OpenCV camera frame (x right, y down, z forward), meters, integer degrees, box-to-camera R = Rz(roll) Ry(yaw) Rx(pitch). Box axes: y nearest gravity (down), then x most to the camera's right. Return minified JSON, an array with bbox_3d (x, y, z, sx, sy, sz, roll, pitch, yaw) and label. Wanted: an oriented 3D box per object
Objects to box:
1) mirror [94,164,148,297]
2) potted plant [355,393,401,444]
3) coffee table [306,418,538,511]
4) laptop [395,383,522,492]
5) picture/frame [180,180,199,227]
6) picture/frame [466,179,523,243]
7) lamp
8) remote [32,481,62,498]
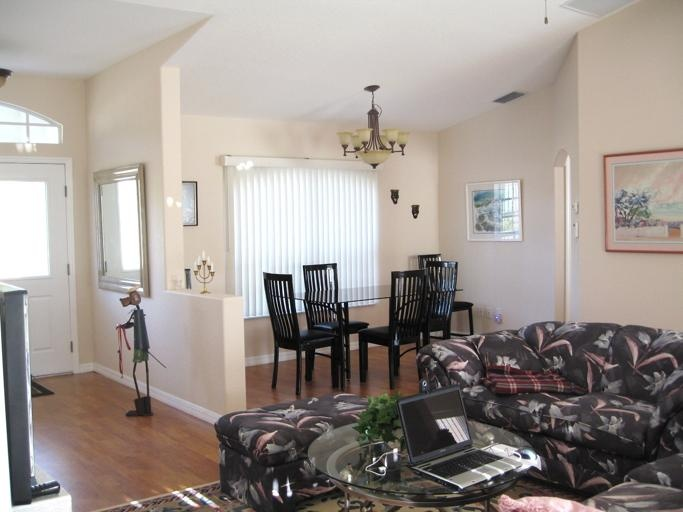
[{"bbox_3d":[-2.320,-0.296,5.197,0.079,1.398,1.352,-3,-4,-32],"label":"mirror"},{"bbox_3d":[0.208,0.806,2.520,0.230,0.180,0.237,0,2,15],"label":"potted plant"},{"bbox_3d":[0.282,0.976,2.258,0.617,0.228,0.619,-3,5,-19],"label":"coffee table"},{"bbox_3d":[0.555,0.819,2.291,0.464,0.325,0.408,4,-6,-41],"label":"laptop"},{"bbox_3d":[-1.792,-0.612,5.710,0.038,0.503,0.282,6,11,26],"label":"picture/frame"},{"bbox_3d":[2.162,-0.630,6.779,0.035,0.891,0.865,-3,4,-38],"label":"picture/frame"},{"bbox_3d":[0.346,-1.406,5.339,0.790,0.839,0.776,0,8,16],"label":"lamp"},{"bbox_3d":[-0.947,0.740,1.567,0.068,0.029,0.037,-4,6,-40],"label":"remote"}]
